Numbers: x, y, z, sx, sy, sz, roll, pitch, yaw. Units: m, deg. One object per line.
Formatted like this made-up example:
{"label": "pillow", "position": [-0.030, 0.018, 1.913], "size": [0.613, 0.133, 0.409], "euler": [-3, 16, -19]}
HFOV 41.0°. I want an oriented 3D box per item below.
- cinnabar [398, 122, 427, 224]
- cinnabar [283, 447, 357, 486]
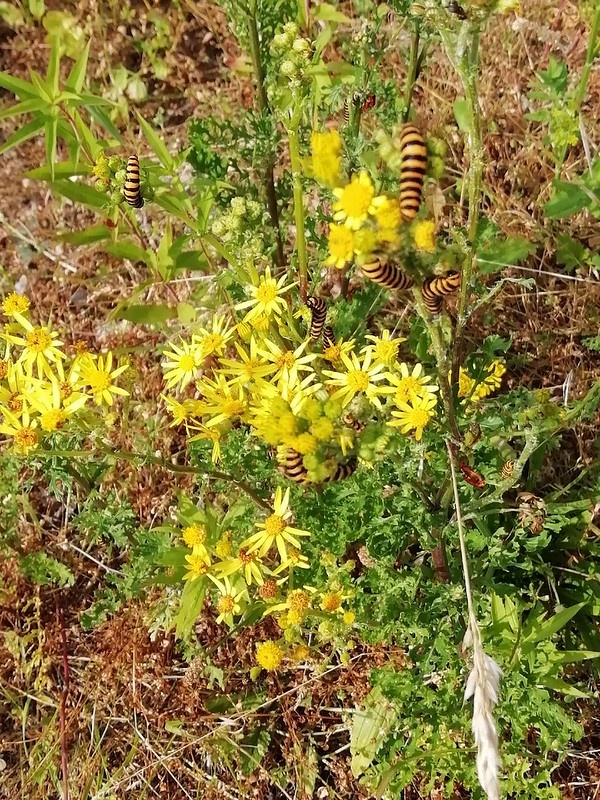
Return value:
{"label": "cinnabar", "position": [0.279, -0.568, 2.007], "size": [0.062, 0.062, 0.240], "euler": [6, 92, -26]}
{"label": "cinnabar", "position": [0.056, 0.227, 2.714], "size": [0.175, 0.153, 0.057], "euler": [-7, 108, -25]}
